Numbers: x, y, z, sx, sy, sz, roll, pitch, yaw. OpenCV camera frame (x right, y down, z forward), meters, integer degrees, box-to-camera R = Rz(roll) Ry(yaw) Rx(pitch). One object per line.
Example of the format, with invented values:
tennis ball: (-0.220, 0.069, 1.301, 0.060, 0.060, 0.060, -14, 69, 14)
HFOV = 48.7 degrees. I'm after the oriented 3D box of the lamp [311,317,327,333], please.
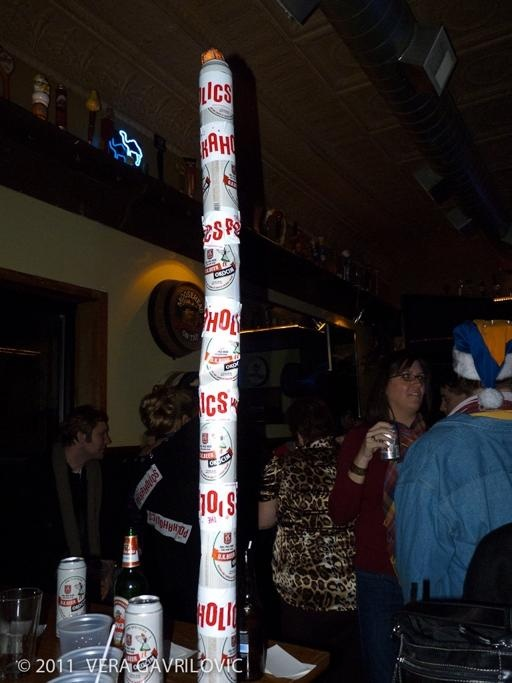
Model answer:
lamp: (0.805, -0.195, 7.066, 0.162, 0.043, 0.178, 18, 22, -1)
